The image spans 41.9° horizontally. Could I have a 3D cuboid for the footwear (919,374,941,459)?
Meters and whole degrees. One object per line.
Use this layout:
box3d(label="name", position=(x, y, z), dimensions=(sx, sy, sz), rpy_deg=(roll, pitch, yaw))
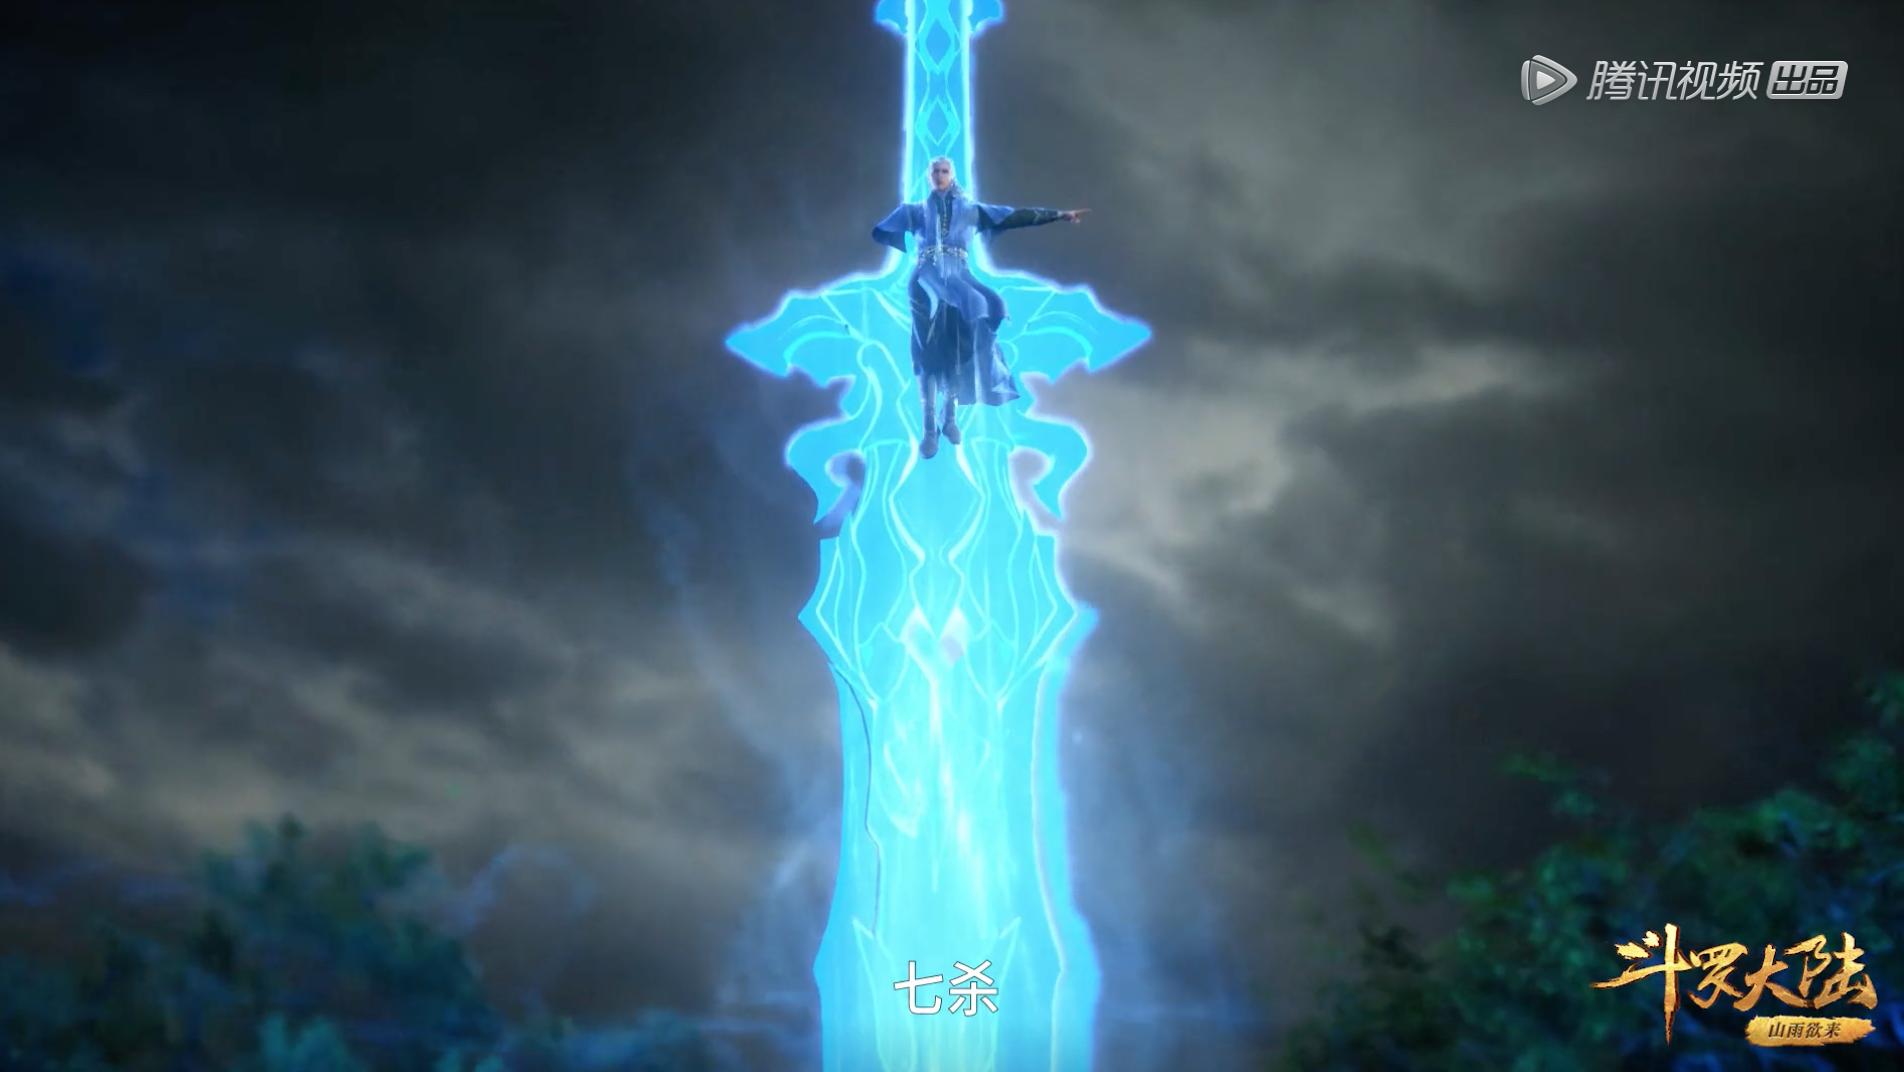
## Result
box3d(label="footwear", position=(-0.117, -0.761, 15.662), dimensions=(0.139, 0.138, 0.471), rpy_deg=(1, -87, 13))

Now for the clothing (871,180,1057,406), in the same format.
box3d(label="clothing", position=(0.071, -1.505, 15.667), dimensions=(1.352, 0.506, 1.405), rpy_deg=(1, -102, 0))
